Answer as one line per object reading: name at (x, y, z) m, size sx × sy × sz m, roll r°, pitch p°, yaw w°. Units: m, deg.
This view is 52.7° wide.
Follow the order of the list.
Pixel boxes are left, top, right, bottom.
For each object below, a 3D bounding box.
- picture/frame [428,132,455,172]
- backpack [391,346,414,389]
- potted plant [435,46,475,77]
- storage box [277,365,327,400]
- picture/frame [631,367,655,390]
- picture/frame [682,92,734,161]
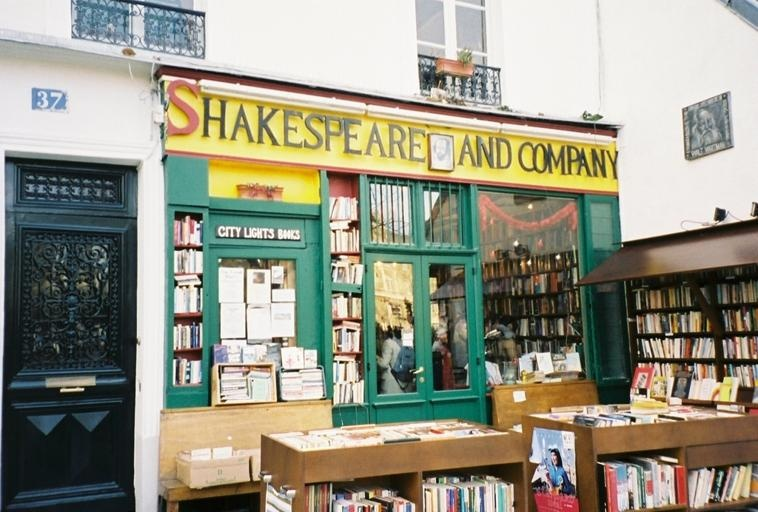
picture/frame at (0.855, -1.425, 10.592) m, size 0.479 × 0.606 × 0.110 m, roll 3°, pitch -8°, yaw -31°
backpack at (0.322, 1.476, 10.233) m, size 0.316 × 0.537 × 0.131 m, roll 11°, pitch -8°, yaw -27°
potted plant at (1.116, -2.638, 11.045) m, size 0.520 × 0.475 × 0.365 m, roll 4°, pitch -9°, yaw -20°
storage box at (-0.931, 1.578, 9.422) m, size 0.502 × 0.377 × 0.375 m, roll 3°, pitch -12°, yaw -22°
picture/frame at (3.507, 1.594, 10.107) m, size 0.070 × 0.314 × 0.291 m, roll 17°, pitch -15°, yaw -32°
picture/frame at (4.530, -1.756, 10.424) m, size 0.100 × 1.072 × 0.848 m, roll 2°, pitch -6°, yaw -29°
